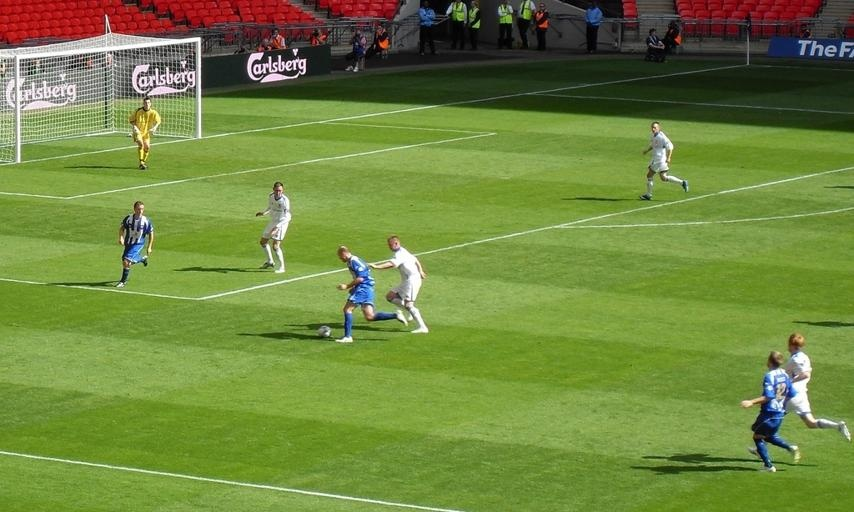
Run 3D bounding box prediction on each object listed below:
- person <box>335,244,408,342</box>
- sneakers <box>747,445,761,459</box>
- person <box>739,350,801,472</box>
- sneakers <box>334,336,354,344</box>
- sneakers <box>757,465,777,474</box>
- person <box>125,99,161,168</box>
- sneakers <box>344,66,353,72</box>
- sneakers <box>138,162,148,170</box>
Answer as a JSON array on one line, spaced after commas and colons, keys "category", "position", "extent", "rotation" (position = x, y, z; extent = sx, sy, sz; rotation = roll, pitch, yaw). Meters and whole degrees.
[{"category": "person", "position": [-1.474, 0.837, 29.237], "extent": [1.168, 2.163, 1.712], "rotation": [11, 16, 39]}, {"category": "sneakers", "position": [6.352, 3.764, 24.864], "extent": [0.174, 0.134, 0.388], "rotation": [-17, 26, -24]}, {"category": "person", "position": [6.639, 2.952, 24.628], "extent": [1.096, 2.365, 1.366], "rotation": [3, 13, 15]}, {"category": "sneakers", "position": [-1.837, 1.912, 29.138], "extent": [0.430, 0.116, 0.155], "rotation": [1, -1, 21]}, {"category": "sneakers", "position": [6.554, 4.085, 24.719], "extent": [0.319, 0.083, 0.122], "rotation": [-7, 13, -23]}, {"category": "person", "position": [-9.289, -4.057, 42.742], "extent": [0.897, 2.344, 1.140], "rotation": [-3, 14, -10]}, {"category": "sneakers", "position": [-3.638, -8.852, 61.130], "extent": [0.575, 0.203, 0.200], "rotation": [0, 7, -1]}, {"category": "sneakers", "position": [-9.361, -2.955, 42.751], "extent": [0.172, 0.141, 0.452], "rotation": [-7, 3, -37]}]
